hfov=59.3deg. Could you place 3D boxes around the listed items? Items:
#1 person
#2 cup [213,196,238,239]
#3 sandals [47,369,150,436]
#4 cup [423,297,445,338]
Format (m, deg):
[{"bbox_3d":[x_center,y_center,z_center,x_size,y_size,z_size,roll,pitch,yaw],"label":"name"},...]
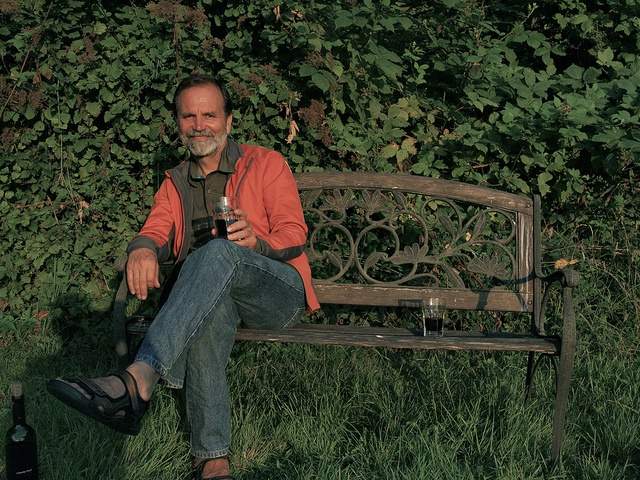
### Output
[{"bbox_3d":[-0.896,0.120,3.379,1.124,2.380,1.568,5,7,36],"label":"person"},{"bbox_3d":[-0.550,-0.121,3.223,0.137,0.232,0.057,-1,6,-14],"label":"cup"},{"bbox_3d":[-1.057,0.772,2.778,0.238,0.228,0.476,30,-3,46],"label":"sandals"},{"bbox_3d":[0.721,0.498,3.581,0.142,0.233,0.155,1,5,0],"label":"cup"}]
